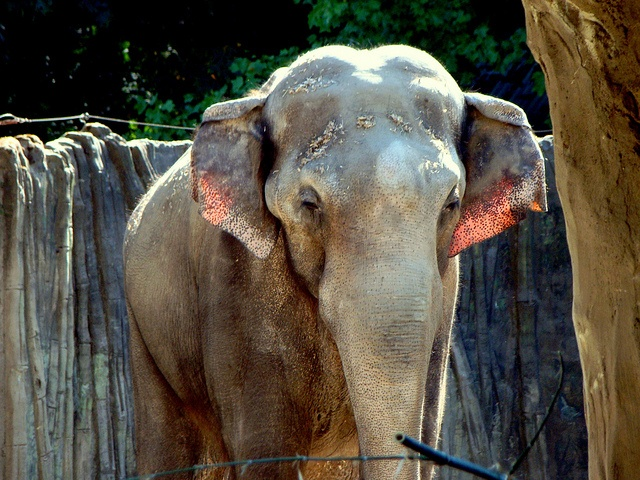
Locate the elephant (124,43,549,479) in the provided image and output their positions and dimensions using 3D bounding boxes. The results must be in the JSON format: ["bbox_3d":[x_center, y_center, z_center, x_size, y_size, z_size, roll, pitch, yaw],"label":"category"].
[{"bbox_3d":[0.148,0.471,11.146,1.515,2.485,3.193,5,-21,-18],"label":"elephant"}]
